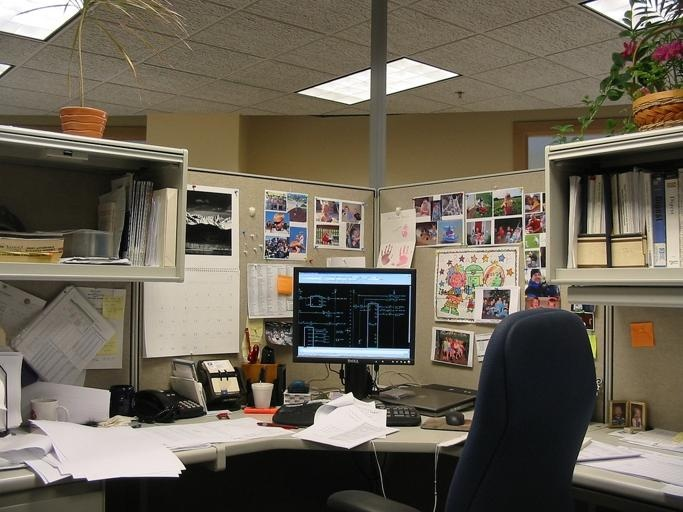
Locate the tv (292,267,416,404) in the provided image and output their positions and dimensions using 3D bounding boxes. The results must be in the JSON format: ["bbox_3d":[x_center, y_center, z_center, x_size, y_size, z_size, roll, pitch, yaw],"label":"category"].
[{"bbox_3d":[0.080,0.328,2.187,0.522,0.526,0.193,-2,-7,24],"label":"tv"}]

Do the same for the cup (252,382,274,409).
[{"bbox_3d":[-0.292,0.513,2.038,0.093,0.074,0.085,1,-8,0],"label":"cup"}]

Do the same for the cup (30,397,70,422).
[{"bbox_3d":[-0.908,0.481,1.722,0.112,0.067,0.063,9,-13,-21],"label":"cup"}]

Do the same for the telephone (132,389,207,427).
[{"bbox_3d":[-0.597,0.511,1.931,0.203,0.075,0.244,10,-10,-7],"label":"telephone"}]

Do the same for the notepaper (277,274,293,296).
[{"bbox_3d":[-0.237,0.122,2.291,0.069,0.086,0.018,0,4,-31],"label":"notepaper"}]

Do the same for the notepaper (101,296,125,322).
[{"bbox_3d":[-0.828,0.189,2.000,0.072,0.086,0.017,1,3,-24],"label":"notepaper"}]

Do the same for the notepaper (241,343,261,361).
[{"bbox_3d":[-0.353,0.387,2.194,0.077,0.070,0.067,0,3,-24],"label":"notepaper"}]

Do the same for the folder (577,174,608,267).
[{"bbox_3d":[0.837,-0.107,1.835,0.117,0.287,0.312,-2,-6,27],"label":"folder"}]

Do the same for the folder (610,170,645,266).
[{"bbox_3d":[0.923,-0.118,1.769,0.116,0.306,0.072,3,3,25],"label":"folder"}]
